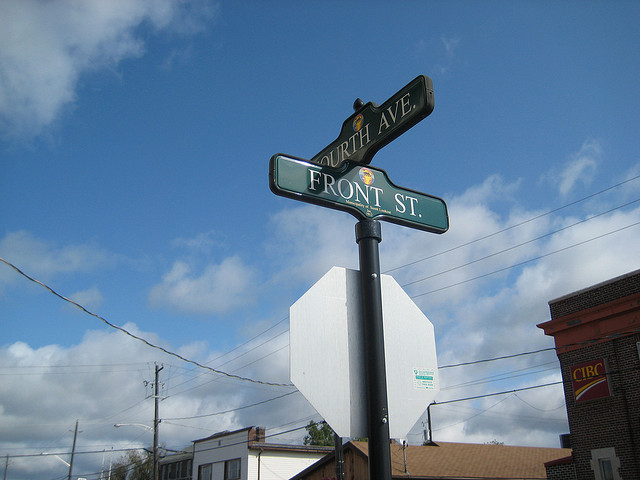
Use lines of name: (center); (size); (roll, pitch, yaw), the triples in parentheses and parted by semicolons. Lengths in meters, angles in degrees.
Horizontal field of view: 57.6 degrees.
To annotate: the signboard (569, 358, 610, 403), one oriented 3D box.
signboard: (9.751, 5.048, 20.853); (0.152, 1.554, 1.305); (13, -25, -29)
